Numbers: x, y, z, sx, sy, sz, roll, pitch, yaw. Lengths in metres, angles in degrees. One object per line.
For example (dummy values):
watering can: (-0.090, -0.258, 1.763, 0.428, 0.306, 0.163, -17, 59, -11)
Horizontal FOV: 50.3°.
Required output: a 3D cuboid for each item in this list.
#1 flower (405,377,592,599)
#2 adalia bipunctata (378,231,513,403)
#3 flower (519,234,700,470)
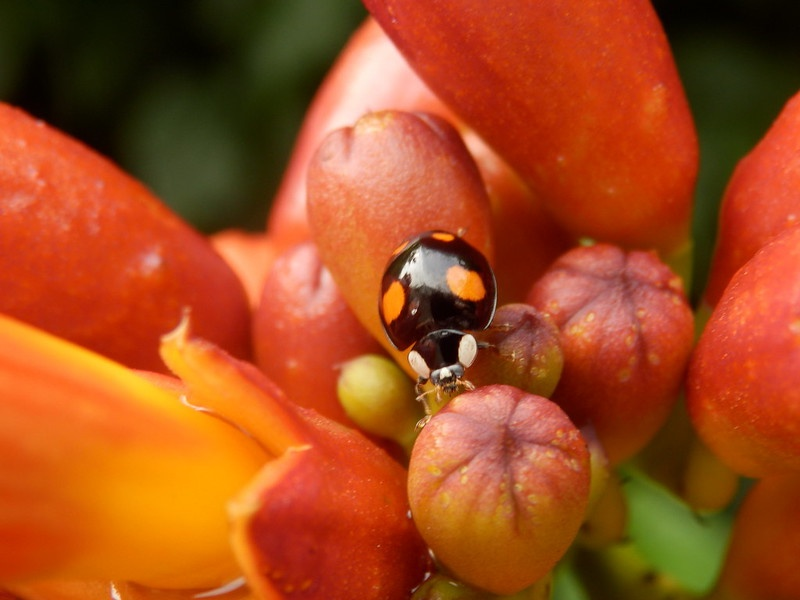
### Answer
flower: (0.062, 0.117, 0.531, 0.101, 0.084, 0.115, 40, 79, 25)
adalia bipunctata: (0.025, -0.003, 0.597, 0.087, 0.074, 0.133, -15, 41, 7)
flower: (0.161, 0.029, 0.652, 0.118, 0.171, 0.133, -2, 48, 14)
